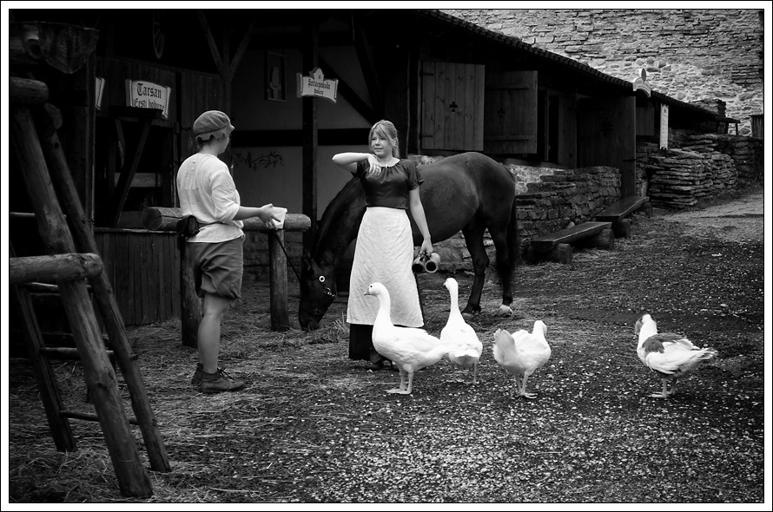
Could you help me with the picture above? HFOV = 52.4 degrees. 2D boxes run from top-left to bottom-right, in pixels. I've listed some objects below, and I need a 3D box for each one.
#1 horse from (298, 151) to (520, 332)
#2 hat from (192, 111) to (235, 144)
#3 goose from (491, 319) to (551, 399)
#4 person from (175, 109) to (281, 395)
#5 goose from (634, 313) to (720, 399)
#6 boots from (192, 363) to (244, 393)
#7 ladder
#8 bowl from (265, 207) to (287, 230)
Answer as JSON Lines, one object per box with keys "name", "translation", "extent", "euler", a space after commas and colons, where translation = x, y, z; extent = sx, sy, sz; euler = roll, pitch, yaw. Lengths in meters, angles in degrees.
{"name": "horse", "translation": [0.454, -0.135, 10.608], "extent": [3.873, 2.486, 0.924], "euler": [-9, 10, -34]}
{"name": "hat", "translation": [-1.627, -1.220, 7.367], "extent": [0.357, 0.229, 0.260], "euler": [-20, 20, -11]}
{"name": "goose", "translation": [1.271, 0.954, 7.469], "extent": [0.482, 0.744, 0.946], "euler": [1, -6, 40]}
{"name": "person", "translation": [-1.581, -0.023, 7.340], "extent": [0.651, 2.642, 0.466], "euler": [-4, 8, -16]}
{"name": "goose", "translation": [2.670, 0.944, 7.358], "extent": [0.427, 0.737, 1.060], "euler": [-3, 1, -23]}
{"name": "boots", "translation": [-1.637, 1.146, 7.551], "extent": [0.560, 0.346, 0.218], "euler": [-2, 8, -18]}
{"name": "ladder", "translation": [-2.482, 0.146, 6.289], "extent": [0.965, 3.081, 1.565], "euler": [-6, 9, -27]}
{"name": "bowl", "translation": [-1.102, -0.422, 7.829], "extent": [0.095, 0.287, 0.287], "euler": [-4, -8, 39]}
